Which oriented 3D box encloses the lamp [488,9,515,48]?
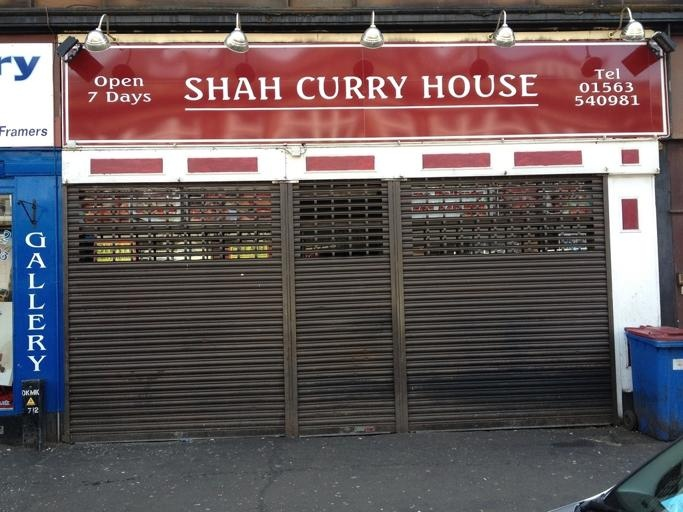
[{"bbox_3d":[2.290,-3.265,19.295,0.365,0.504,0.486,-3,1,6],"label":"lamp"}]

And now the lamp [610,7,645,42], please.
[{"bbox_3d":[4.121,-3.353,19.383,0.462,0.456,0.506,-3,1,4],"label":"lamp"}]

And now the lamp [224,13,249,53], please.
[{"bbox_3d":[-1.499,-3.185,19.125,0.354,0.550,0.419,-3,1,-4],"label":"lamp"}]

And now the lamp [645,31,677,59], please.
[{"bbox_3d":[4.612,-3.074,19.488,0.374,0.354,0.269,-3,1,5],"label":"lamp"}]

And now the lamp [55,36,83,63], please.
[{"bbox_3d":[-3.848,-2.932,19.127,0.364,0.374,0.227,-3,1,-8],"label":"lamp"}]

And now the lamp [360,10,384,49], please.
[{"bbox_3d":[0.468,-3.231,19.093,0.421,0.440,0.369,-12,28,-8],"label":"lamp"}]

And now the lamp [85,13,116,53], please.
[{"bbox_3d":[-3.442,-3.170,19.049,0.404,0.532,0.472,-3,1,-5],"label":"lamp"}]
